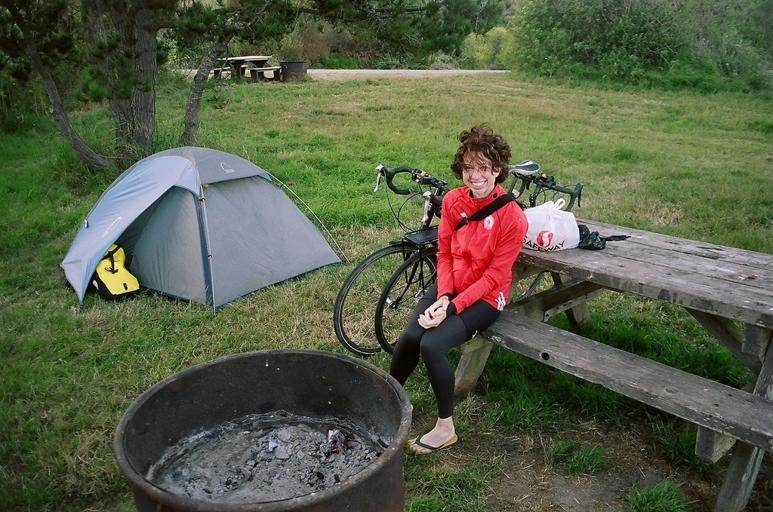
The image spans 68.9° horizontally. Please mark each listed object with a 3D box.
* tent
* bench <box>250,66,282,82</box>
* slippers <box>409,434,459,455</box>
[{"bbox_3d":[-2.362,-0.435,6.960,2.160,1.131,2.221,23,31,29],"label":"tent"},{"bbox_3d":[-4.171,-6.322,19.500,1.034,0.454,0.446,-3,25,-12],"label":"bench"},{"bbox_3d":[0.398,1.602,4.762,0.353,0.059,0.175,-3,7,-22],"label":"slippers"}]
